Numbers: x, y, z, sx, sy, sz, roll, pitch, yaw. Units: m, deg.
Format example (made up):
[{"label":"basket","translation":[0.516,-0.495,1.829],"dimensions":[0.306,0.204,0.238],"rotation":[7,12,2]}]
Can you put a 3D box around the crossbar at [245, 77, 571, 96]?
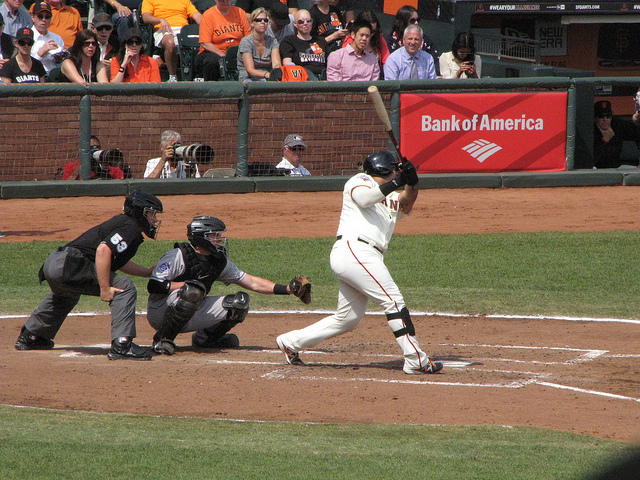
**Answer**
[{"label":"crossbar","translation":[1.329,-2.389,18.314],"dimensions":[4.917,0.331,0.342],"rotation":[0,5,-7]}]

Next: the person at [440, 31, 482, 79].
[{"label":"person","translation":[2.217,-2.960,18.940],"dimensions":[0.577,0.687,0.376],"rotation":[1,5,12]}]

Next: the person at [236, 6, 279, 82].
[{"label":"person","translation":[-0.932,-3.057,18.578],"dimensions":[0.659,1.119,0.652],"rotation":[0,5,-7]}]

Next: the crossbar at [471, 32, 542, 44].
[{"label":"crossbar","translation":[3.503,-3.754,21.940],"dimensions":[1.376,0.172,0.662],"rotation":[-4,6,-40]}]

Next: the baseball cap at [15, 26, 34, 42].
[{"label":"baseball cap","translation":[-4.416,-3.088,17.748],"dimensions":[0.257,0.195,0.279],"rotation":[-1,5,-14]}]

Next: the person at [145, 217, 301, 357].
[{"label":"person","translation":[-1.055,0.483,12.921],"dimensions":[1.873,1.191,1.187],"rotation":[4,-2,-23]}]

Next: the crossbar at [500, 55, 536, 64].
[{"label":"crossbar","translation":[3.727,-3.395,22.117],"dimensions":[0.718,0.133,0.102],"rotation":[-1,5,-19]}]

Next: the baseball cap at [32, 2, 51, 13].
[{"label":"baseball cap","translation":[-4.396,-3.709,18.811],"dimensions":[0.280,0.180,0.382],"rotation":[3,7,-19]}]

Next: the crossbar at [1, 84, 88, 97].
[{"label":"crossbar","translation":[-3.994,-2.188,17.260],"dimensions":[1.225,0.190,0.159],"rotation":[-1,5,-12]}]

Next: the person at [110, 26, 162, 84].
[{"label":"person","translation":[-2.833,-2.830,18.221],"dimensions":[0.752,0.827,0.642],"rotation":[-1,5,-9]}]

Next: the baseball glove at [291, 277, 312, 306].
[{"label":"baseball glove","translation":[-0.189,0.524,12.606],"dimensions":[0.172,0.170,0.313],"rotation":[3,-31,42]}]

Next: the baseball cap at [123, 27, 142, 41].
[{"label":"baseball cap","translation":[-2.862,-3.176,18.222],"dimensions":[0.257,0.230,0.477],"rotation":[0,5,-5]}]

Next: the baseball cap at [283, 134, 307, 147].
[{"label":"baseball cap","translation":[-0.364,-1.517,17.812],"dimensions":[0.250,0.168,0.316],"rotation":[-1,5,-12]}]

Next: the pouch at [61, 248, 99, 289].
[{"label":"pouch","translation":[-2.487,0.291,12.324],"dimensions":[0.377,0.429,0.141],"rotation":[-1,6,-10]}]

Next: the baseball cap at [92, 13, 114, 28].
[{"label":"baseball cap","translation":[-3.393,-3.452,18.566],"dimensions":[0.298,0.236,0.334],"rotation":[-1,5,-10]}]

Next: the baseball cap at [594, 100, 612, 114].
[{"label":"baseball cap","translation":[4.539,-2.140,18.925],"dimensions":[0.255,0.189,0.305],"rotation":[1,5,12]}]

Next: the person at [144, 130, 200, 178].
[{"label":"person","translation":[-2.255,-1.318,17.827],"dimensions":[0.761,0.736,0.890],"rotation":[4,6,37]}]

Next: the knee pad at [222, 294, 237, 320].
[{"label":"knee pad","translation":[-0.962,0.712,12.820],"dimensions":[0.154,0.261,0.200],"rotation":[0,5,-4]}]

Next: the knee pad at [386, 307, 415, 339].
[{"label":"knee pad","translation":[0.829,0.831,12.014],"dimensions":[0.279,0.325,0.122],"rotation":[0,5,-3]}]

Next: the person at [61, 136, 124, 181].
[{"label":"person","translation":[-3.383,-1.225,17.678],"dimensions":[0.904,0.649,0.326],"rotation":[-1,5,-11]}]

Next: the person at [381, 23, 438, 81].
[{"label":"person","translation":[1.480,-2.974,18.762],"dimensions":[0.880,0.833,0.395],"rotation":[-1,6,-15]}]

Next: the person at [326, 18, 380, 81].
[{"label":"person","translation":[0.549,-2.975,18.494],"dimensions":[0.808,0.906,0.491],"rotation":[0,5,-2]}]

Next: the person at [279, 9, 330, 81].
[{"label":"person","translation":[-0.221,-3.108,18.992],"dimensions":[0.709,1.098,1.134],"rotation":[3,6,25]}]

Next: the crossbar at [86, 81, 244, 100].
[{"label":"crossbar","translation":[-2.161,-2.244,17.630],"dimensions":[2.565,0.257,0.436],"rotation":[-1,18,-11]}]

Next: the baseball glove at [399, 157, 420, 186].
[{"label":"baseball glove","translation":[0.912,-0.699,12.024],"dimensions":[0.179,0.282,0.319],"rotation":[0,5,3]}]

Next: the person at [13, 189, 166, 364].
[{"label":"person","translation":[-2.397,0.367,12.496],"dimensions":[1.391,1.781,0.571],"rotation":[1,6,9]}]
